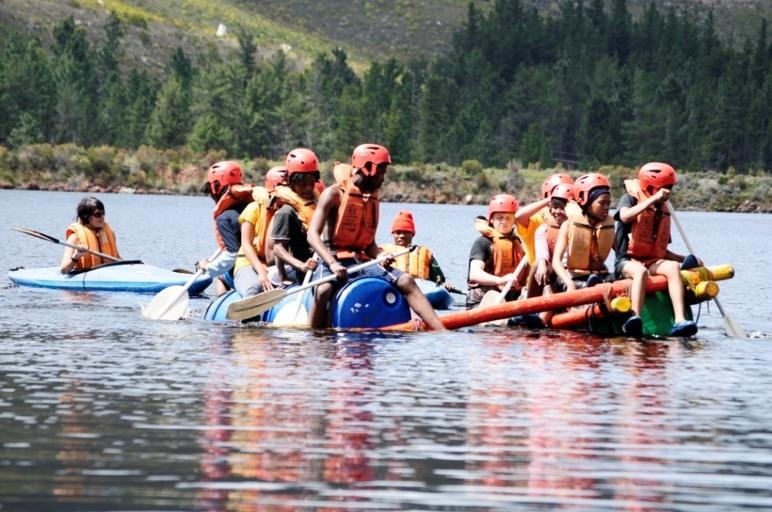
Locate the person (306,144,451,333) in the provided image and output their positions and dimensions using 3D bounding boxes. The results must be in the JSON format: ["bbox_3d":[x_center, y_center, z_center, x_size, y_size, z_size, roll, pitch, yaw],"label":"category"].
[{"bbox_3d":[-0.304,-0.251,16.728,1.651,2.700,0.933,3,5,-3],"label":"person"}]

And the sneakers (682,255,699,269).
[{"bbox_3d":[4.403,0.085,16.969,0.252,0.226,0.302,4,4,13],"label":"sneakers"}]

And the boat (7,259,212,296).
[{"bbox_3d":[-5.360,0.429,22.105,4.114,0.771,1.288,3,-1,12],"label":"boat"}]

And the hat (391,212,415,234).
[{"bbox_3d":[0.278,-0.561,19.842,0.371,0.370,0.479,1,-15,1],"label":"hat"}]

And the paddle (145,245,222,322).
[{"bbox_3d":[-2.979,0.530,18.846,0.639,0.254,1.949,33,54,29],"label":"paddle"}]

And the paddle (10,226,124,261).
[{"bbox_3d":[-7.223,-0.257,26.245,3.181,0.316,0.158,19,-2,18],"label":"paddle"}]

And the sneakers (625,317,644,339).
[{"bbox_3d":[3.481,1.012,16.618,0.169,0.195,0.470,3,-37,-3],"label":"sneakers"}]

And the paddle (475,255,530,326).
[{"bbox_3d":[1.805,0.595,17.670,0.519,1.329,0.245,14,-33,43],"label":"paddle"}]
